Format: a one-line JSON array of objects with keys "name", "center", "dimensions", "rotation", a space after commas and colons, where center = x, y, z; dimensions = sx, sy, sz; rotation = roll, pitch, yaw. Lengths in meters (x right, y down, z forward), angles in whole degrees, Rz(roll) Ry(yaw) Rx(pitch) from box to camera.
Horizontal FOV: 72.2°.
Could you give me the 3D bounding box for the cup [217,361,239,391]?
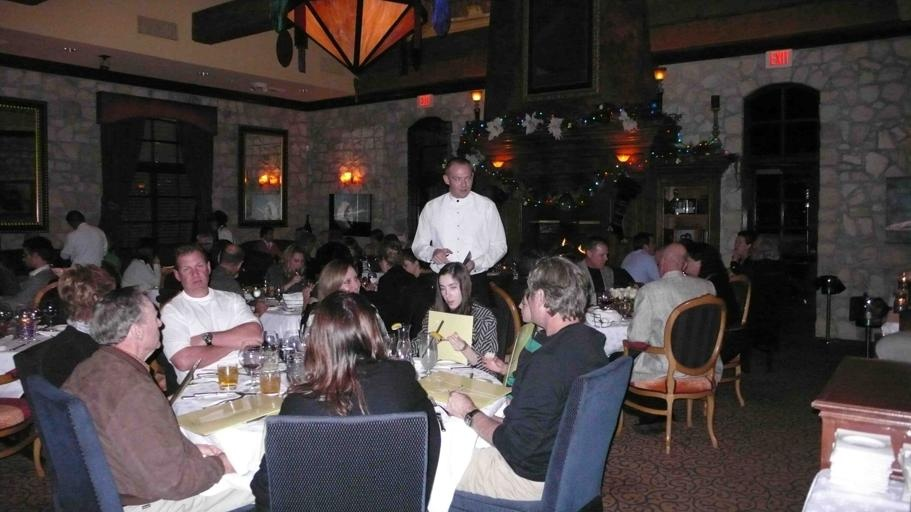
[{"name": "cup", "center": [-2.017, 1.048, 5.456], "dimensions": [0.196, 0.186, 0.177], "rotation": [-2, 6, -7]}]
